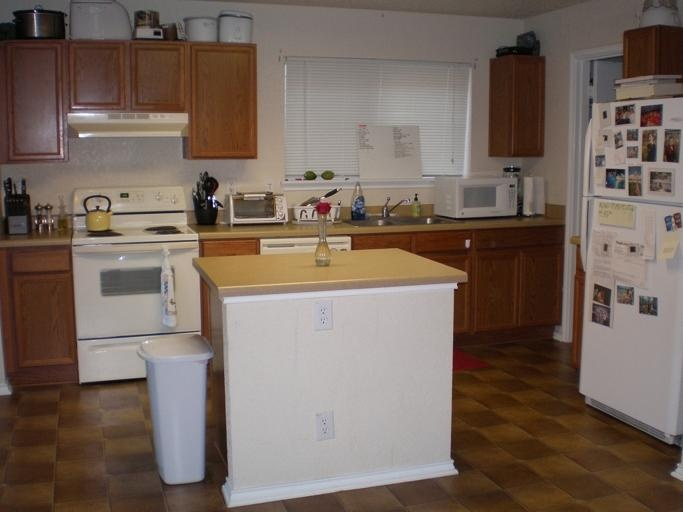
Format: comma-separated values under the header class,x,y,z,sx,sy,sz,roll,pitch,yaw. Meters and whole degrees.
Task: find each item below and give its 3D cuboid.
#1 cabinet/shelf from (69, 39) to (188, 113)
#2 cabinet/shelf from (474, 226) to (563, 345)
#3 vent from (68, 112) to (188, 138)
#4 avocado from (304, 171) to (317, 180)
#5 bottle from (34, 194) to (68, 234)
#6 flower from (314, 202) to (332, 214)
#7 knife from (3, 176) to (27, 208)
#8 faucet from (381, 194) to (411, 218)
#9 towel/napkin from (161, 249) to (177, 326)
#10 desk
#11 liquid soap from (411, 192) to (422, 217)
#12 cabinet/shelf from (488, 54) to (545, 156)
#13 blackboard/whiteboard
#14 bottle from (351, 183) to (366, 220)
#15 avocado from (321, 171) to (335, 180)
class,x,y,z,sx,sy,sz,roll,pitch,yaw
cabinet/shelf,-1.756,-1.451,4.571,1.005,0.650,0.551,-1,5,-12
cabinet/shelf,1.615,0.236,5.232,1.017,1.259,0.622,-1,2,-15
vent,-1.750,-1.083,4.644,0.946,0.185,0.137,-2,11,-10
avocado,-0.308,-0.756,5.273,0.086,0.059,0.087,-6,14,-28
bottle,-2.430,-0.339,4.680,0.277,0.255,0.439,-6,12,-26
flower,-0.104,-0.266,3.166,0.077,0.038,0.094,0,5,-8
knife,-2.692,-0.538,4.631,0.177,0.198,0.302,-6,13,-29
faucet,0.517,-0.481,5.546,0.301,0.216,0.140,-1,4,16
towel/napkin,-1.366,0.243,4.407,0.119,0.606,0.163,-4,11,-17
desk,-0.041,0.655,3.172,1.335,1.149,0.626,-4,11,-19
liquid soap,0.750,-0.506,5.637,0.091,0.217,0.174,1,11,8
cabinet/shelf,1.724,-1.465,5.541,0.559,0.947,0.337,3,11,16
blackboard/whiteboard,0.432,-1.029,5.569,0.545,0.475,0.063,0,-2,-18
bottle,0.163,-0.527,5.447,0.139,0.349,0.263,0,11,1
avocado,-0.134,-0.759,5.318,0.095,0.063,0.096,-5,10,-22
